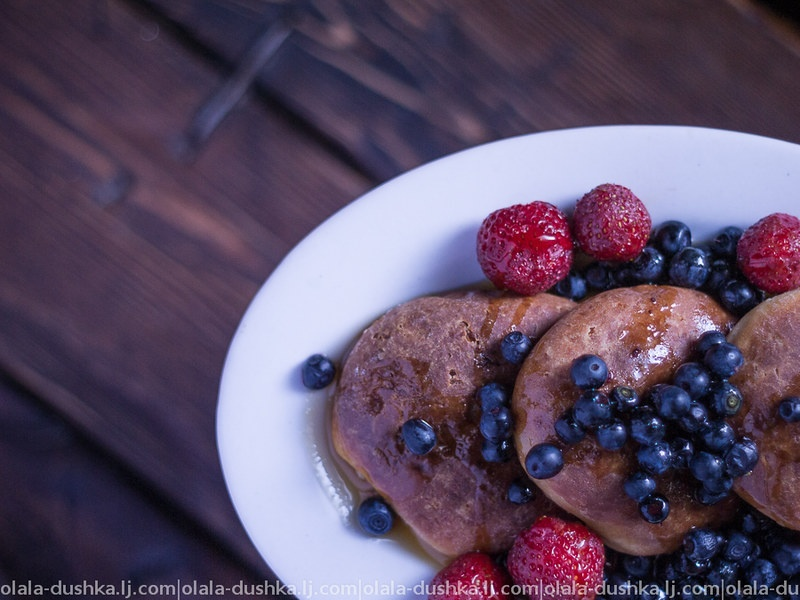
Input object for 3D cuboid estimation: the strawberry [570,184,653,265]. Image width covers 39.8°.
[{"bbox_3d":[0.561,-0.203,2.925,0.147,0.198,0.216,-1,95,0],"label":"strawberry"}]
